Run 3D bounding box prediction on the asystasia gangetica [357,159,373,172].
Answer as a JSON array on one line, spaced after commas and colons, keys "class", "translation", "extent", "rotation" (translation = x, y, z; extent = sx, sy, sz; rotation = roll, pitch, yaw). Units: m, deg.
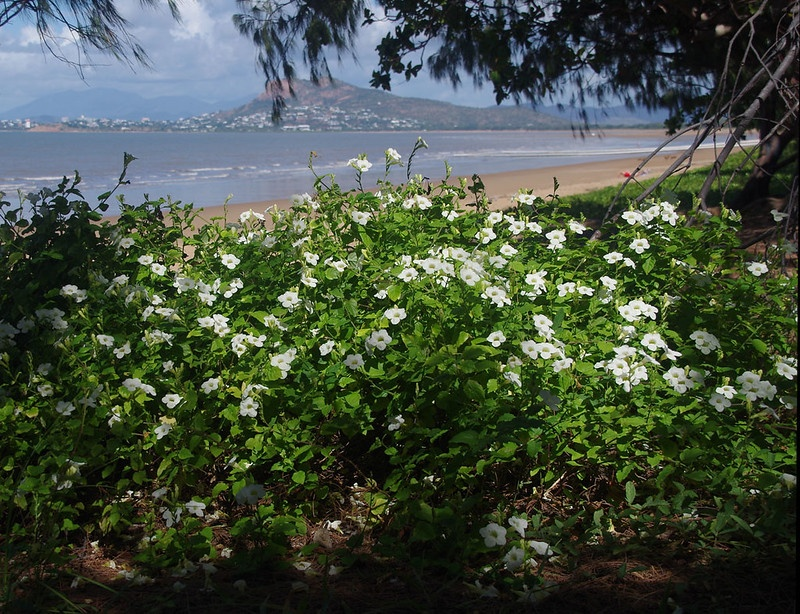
[{"class": "asystasia gangetica", "translation": [-0.235, -0.933, 3.441], "extent": [0.081, 0.081, 0.162], "rotation": [-4, 30, -4]}]
